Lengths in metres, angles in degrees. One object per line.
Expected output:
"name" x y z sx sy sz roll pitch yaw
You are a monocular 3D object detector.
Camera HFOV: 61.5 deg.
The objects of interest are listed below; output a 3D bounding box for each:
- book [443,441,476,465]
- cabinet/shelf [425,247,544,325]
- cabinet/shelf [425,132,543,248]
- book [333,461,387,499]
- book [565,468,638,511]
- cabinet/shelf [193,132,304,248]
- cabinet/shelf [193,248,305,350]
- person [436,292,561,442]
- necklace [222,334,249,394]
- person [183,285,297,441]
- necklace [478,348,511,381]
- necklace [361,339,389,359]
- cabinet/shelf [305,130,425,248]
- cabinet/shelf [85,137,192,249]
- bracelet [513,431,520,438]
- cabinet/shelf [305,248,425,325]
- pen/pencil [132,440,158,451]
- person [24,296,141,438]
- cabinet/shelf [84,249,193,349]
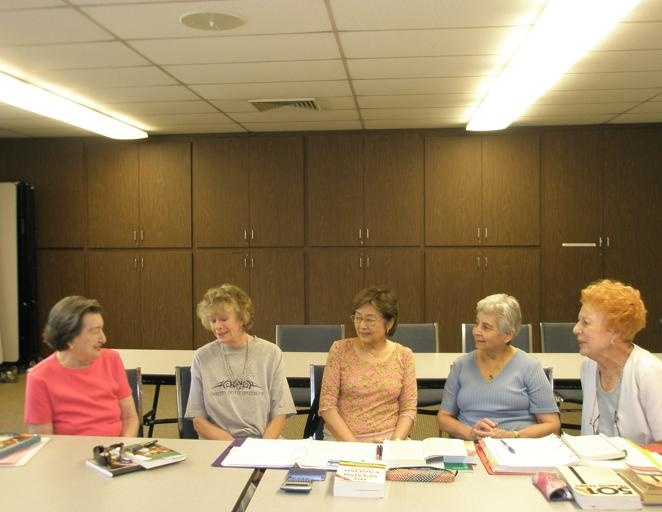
"book" 0.558 0.829 2.349 0.088 0.024 0.097 -1 9 4
"cabinet/shelf" 1.738 0.603 6.360 1.312 1.322 0.476 -1 -18 17
"cabinet/shelf" 1.772 -0.769 6.218 1.185 1.226 0.467 1 1 2
"book" 0.117 0.879 2.201 0.205 0.068 0.167 0 6 2
"book" 1.020 0.878 2.111 0.234 0.076 0.217 -1 6 -6
"cabinet/shelf" -0.896 -0.795 6.445 1.209 1.196 0.479 1 3 4
"cabinet/shelf" -0.954 0.583 6.701 1.308 1.330 0.460 0 5 -6
"person" 0.906 0.635 3.042 0.618 0.811 0.520 -4 -8 31
"necklace" -0.525 0.610 3.090 0.166 0.036 0.346 2 35 -12
"person" -0.497 0.602 2.989 0.579 0.942 0.587 -1 4 5
"necklace" 0.888 0.594 3.046 0.137 0.190 0.096 4 -1 39
"necklace" 0.251 0.512 3.105 0.105 0.065 0.142 -1 -30 4
"cabinet/shelf" 0.394 -0.702 6.541 1.333 1.323 0.474 0 -10 2
"cabinet/shelf" -2.207 -0.785 6.550 1.190 1.191 0.478 1 3 4
"bracelet" 0.953 0.911 2.843 0.020 0.025 0.027 3 10 10
"cabinet/shelf" 0.401 0.271 5.694 0.801 0.793 0.280 0 -3 2
"pen/pencil" -0.828 0.842 2.476 0.100 0.024 0.027 -10 -24 -39
"person" -1.242 0.628 2.795 0.526 0.817 0.435 0 -1 -45
"cabinet/shelf" -2.261 0.553 6.775 1.122 1.131 0.397 -1 0 -7
